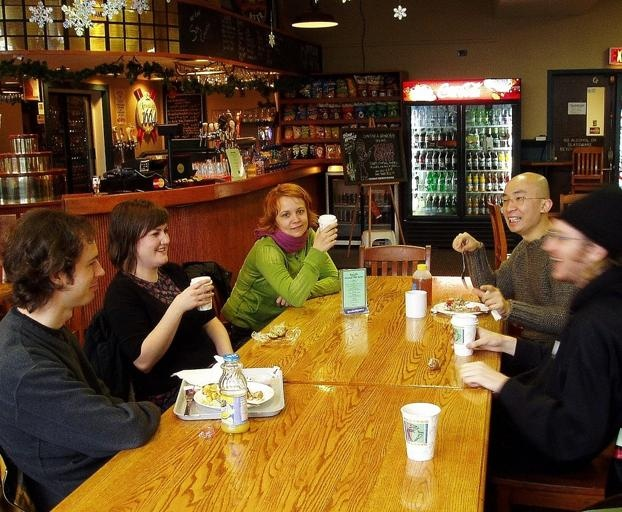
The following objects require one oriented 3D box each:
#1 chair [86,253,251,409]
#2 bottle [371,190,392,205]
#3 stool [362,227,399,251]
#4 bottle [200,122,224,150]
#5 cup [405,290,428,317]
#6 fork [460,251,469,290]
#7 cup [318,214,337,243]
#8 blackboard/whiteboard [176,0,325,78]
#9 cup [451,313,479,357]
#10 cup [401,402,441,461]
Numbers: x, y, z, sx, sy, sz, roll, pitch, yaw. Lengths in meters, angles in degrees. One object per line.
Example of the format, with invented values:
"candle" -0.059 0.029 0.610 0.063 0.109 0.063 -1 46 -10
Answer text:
"chair" -0.646 0.379 2.406 0.509 0.806 0.810 -3 22 12
"bottle" 1.264 -1.055 8.698 0.326 0.274 0.142 -2 10 12
"stool" 0.982 -0.262 6.911 0.495 0.293 0.395 0 11 1
"bottle" -1.300 -1.577 6.338 0.312 0.328 0.716 -6 10 -9
"cup" 0.555 0.255 2.565 0.104 0.131 0.141 -3 4 3
"fork" 1.397 0.135 4.392 0.043 0.307 0.039 -7 4 -37
"cup" 0.100 -0.188 2.795 0.088 0.099 0.098 -1 2 -2
"blackboard/whiteboard" -0.792 -3.099 7.118 0.119 0.786 3.467 1 11 25
"cup" 0.640 0.329 2.020 0.148 0.189 0.152 1 -3 0
"cup" 0.284 0.458 1.278 0.115 0.130 0.123 0 -4 0
